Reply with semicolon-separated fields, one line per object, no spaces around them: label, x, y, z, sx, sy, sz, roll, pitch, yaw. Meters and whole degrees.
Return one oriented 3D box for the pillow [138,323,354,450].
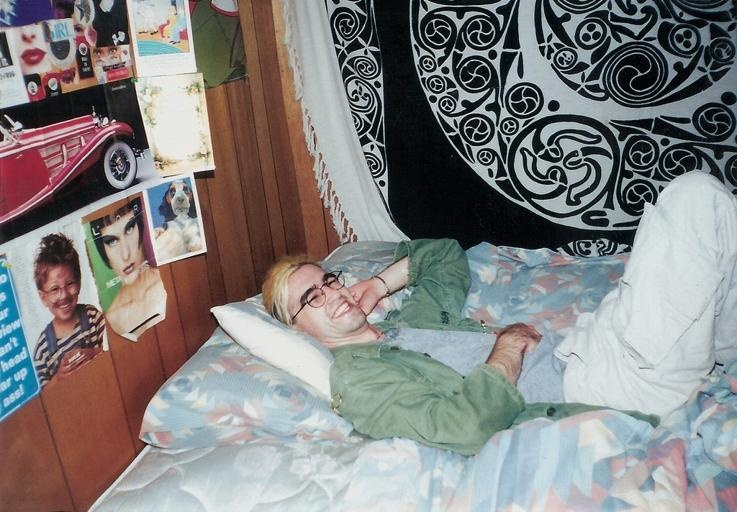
pillow;-0.528;0.438;2.088;0.698;0.206;0.824;0;12;9

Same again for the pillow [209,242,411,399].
pillow;-0.262;0.207;1.906;0.349;0.087;0.359;38;27;11

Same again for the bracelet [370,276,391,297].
bracelet;0.059;0.120;2.335;0.021;0.081;0.079;-35;59;-16
